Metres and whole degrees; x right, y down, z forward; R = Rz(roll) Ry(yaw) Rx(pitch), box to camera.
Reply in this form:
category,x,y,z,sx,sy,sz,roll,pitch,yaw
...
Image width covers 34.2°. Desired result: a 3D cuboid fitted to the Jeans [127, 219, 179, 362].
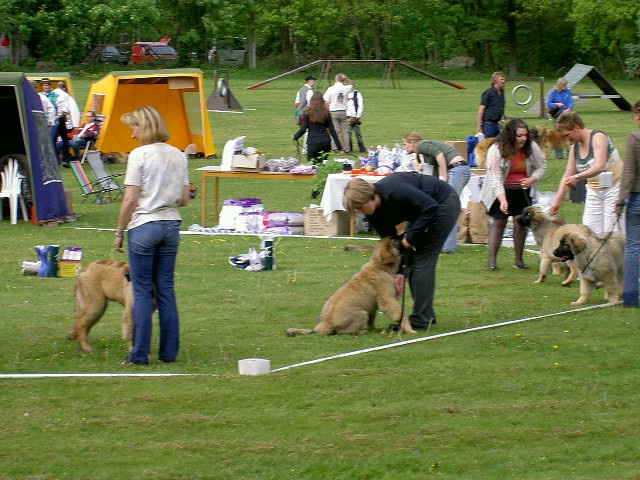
category,x,y,z,sx,sy,sz,roll,pitch,yaw
Jeans,-1.748,0.552,10.915,0.585,1.532,0.298,-2,8,-23

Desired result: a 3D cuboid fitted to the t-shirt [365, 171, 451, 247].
category,x,y,z,sx,sy,sz,roll,pitch,yaw
t-shirt,0.987,-0.340,11.484,0.931,0.797,0.555,1,7,1

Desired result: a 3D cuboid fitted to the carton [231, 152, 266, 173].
category,x,y,z,sx,sy,sz,roll,pitch,yaw
carton,-1.182,-1.284,17.365,0.491,0.178,0.422,-2,3,-33

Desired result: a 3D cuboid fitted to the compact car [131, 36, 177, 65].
category,x,y,z,sx,sy,sz,roll,pitch,yaw
compact car,-9.290,-10.254,57.478,0.951,1.345,2.943,4,6,26

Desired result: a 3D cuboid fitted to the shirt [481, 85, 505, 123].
category,x,y,z,sx,sy,sz,roll,pitch,yaw
shirt,3.529,-2.794,21.442,0.462,0.757,0.615,1,6,5

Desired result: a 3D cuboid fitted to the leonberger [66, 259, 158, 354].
category,x,y,z,sx,sy,sz,roll,pitch,yaw
leonberger,-2.065,0.698,11.249,1.756,0.931,0.546,-2,0,37

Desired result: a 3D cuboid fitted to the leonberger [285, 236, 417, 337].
category,x,y,z,sx,sy,sz,roll,pitch,yaw
leonberger,0.513,0.631,12.122,2.024,0.936,0.735,-9,-6,29
